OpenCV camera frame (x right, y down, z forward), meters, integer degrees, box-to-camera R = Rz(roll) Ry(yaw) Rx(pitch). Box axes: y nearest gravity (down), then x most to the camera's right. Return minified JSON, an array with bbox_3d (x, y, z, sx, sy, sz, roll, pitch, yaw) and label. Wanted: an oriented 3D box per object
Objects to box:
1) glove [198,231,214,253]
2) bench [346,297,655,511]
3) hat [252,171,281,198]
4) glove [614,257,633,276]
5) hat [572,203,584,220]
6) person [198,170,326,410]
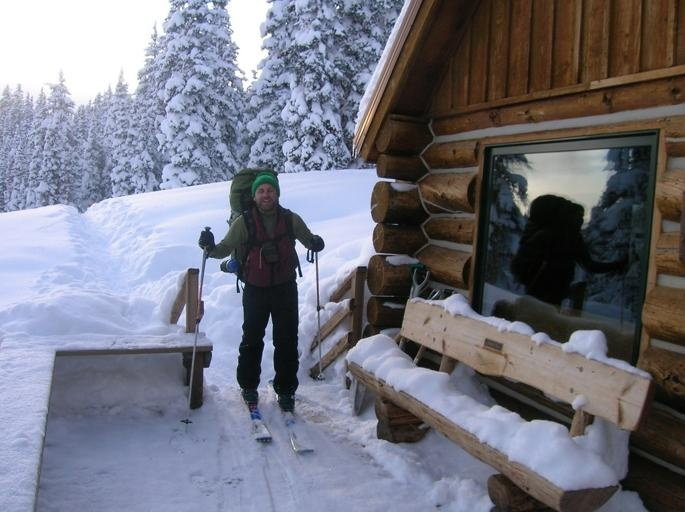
[{"bbox_3d":[-1.508,-0.158,5.770,0.081,0.237,0.172,-2,9,23],"label":"glove"},{"bbox_3d":[1.370,1.170,4.774,1.045,1.386,2.407,-2,12,-35],"label":"bench"},{"bbox_3d":[-0.898,-0.848,6.166,0.324,0.290,0.275,3,10,-12],"label":"hat"},{"bbox_3d":[2.610,0.091,4.948,0.035,0.134,0.135,12,-13,-22],"label":"glove"},{"bbox_3d":[2.389,-0.462,5.336,0.032,0.138,0.131,-1,4,-20],"label":"hat"},{"bbox_3d":[-0.916,0.395,6.204,1.224,2.770,0.874,4,9,-4],"label":"person"}]
